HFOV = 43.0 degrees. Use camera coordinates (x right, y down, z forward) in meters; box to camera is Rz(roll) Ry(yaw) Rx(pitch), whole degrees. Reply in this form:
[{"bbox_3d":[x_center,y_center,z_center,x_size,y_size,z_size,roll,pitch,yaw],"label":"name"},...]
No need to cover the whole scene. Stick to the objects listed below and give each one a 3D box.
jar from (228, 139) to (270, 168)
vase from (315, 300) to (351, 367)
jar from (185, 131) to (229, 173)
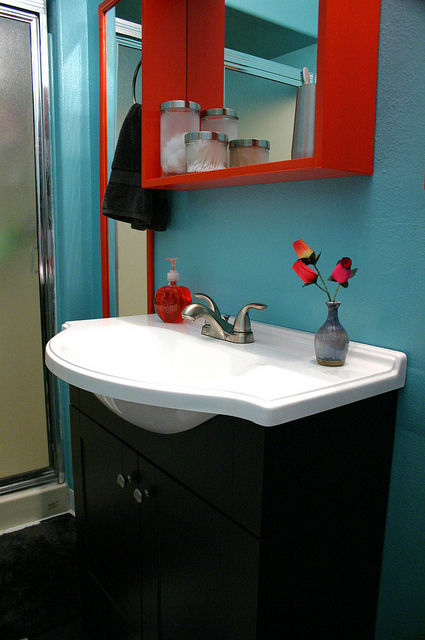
[{"bbox_3d":[0.076,-0.325,1.082,0.064,0.042,0.063,-1,14,0],"label":"jar"},{"bbox_3d":[0.203,0.023,0.905,0.056,0.109,0.050,0,6,-15],"label":"vase"},{"bbox_3d":[-0.009,-0.354,1.187,0.078,0.096,0.099,-6,12,-39],"label":"jar"}]
